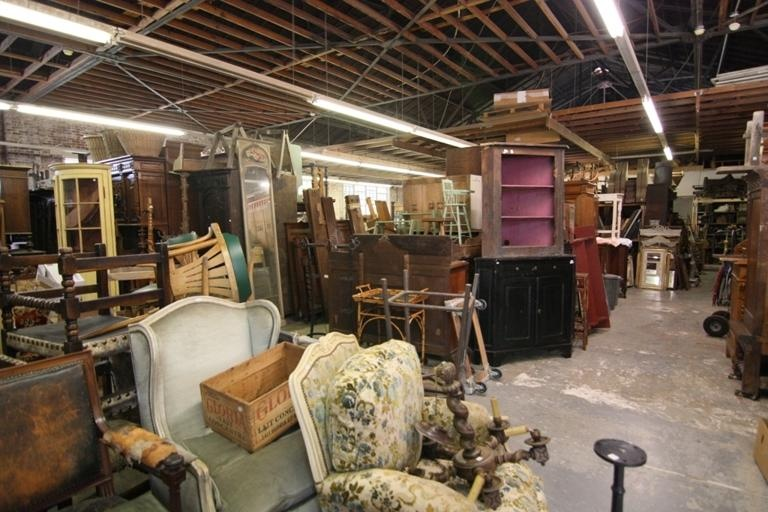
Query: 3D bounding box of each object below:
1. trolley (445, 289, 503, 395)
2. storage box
[{"bbox_3d":[1.249,1.258,7.434,0.527,1.202,0.642,-10,-6,-18],"label":"trolley"},{"bbox_3d":[3.227,-3.147,11.570,1.870,0.659,1.891,3,8,30],"label":"storage box"}]
